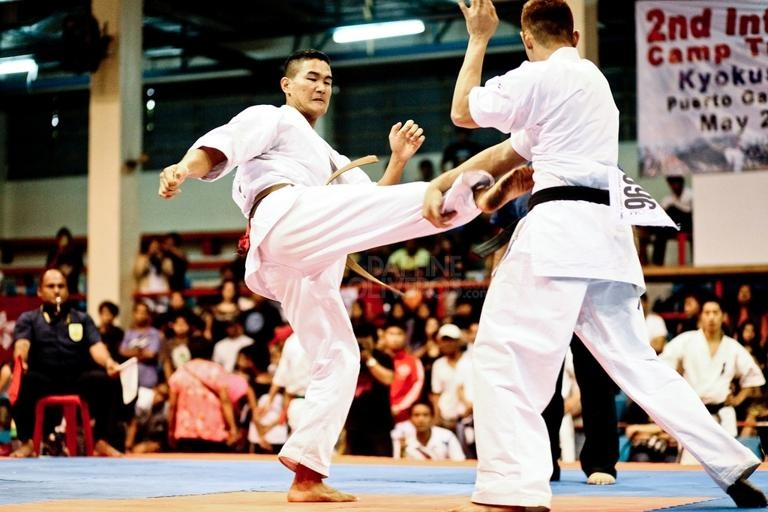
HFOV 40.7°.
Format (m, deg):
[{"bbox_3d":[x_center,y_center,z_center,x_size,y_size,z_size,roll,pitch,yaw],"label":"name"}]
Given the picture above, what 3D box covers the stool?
[{"bbox_3d":[-3.746,2.038,11.974,0.728,0.857,0.725,3,-3,-15],"label":"stool"}]
